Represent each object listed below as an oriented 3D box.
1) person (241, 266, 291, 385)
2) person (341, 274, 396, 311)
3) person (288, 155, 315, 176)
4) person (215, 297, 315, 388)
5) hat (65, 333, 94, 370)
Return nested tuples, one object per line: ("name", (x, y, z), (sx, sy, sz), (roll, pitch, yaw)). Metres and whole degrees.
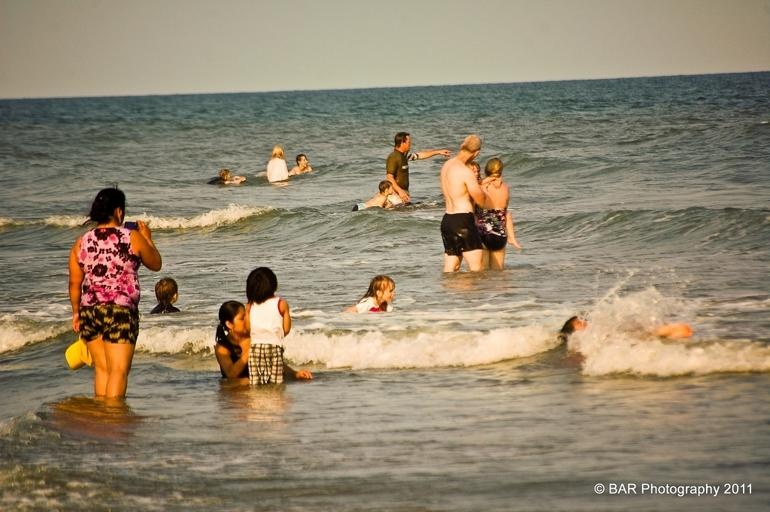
("person", (-1.400, 0.831, 12.654), (0.493, 1.403, 0.458), (-5, 5, -12))
("person", (-0.209, 0.621, 15.441), (0.783, 0.649, 0.513), (2, 2, 10))
("person", (-2.491, -2.597, 30.918), (0.599, 0.583, 0.900), (-4, 4, -5))
("person", (-1.707, 1.031, 13.203), (0.849, 1.088, 0.391), (3, 17, 15))
("hat", (-3.370, 1.062, 12.080), (0.330, 0.386, 0.186), (-43, -21, 23))
